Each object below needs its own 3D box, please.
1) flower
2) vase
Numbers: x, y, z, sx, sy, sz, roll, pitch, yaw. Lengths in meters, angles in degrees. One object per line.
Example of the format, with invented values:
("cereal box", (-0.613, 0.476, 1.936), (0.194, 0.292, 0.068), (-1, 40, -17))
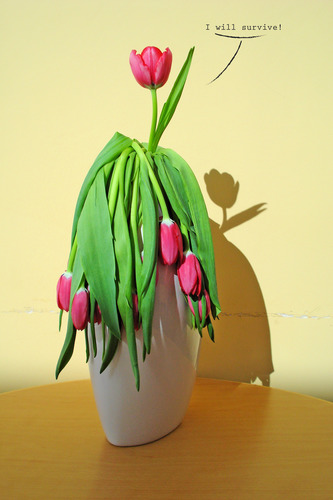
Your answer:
("flower", (-0.051, -0.038, 0.576), (0.125, 0.375, 0.130), (3, -2, 37))
("vase", (-0.028, 0.090, 0.637), (0.110, 0.261, 0.154), (0, 11, -1))
